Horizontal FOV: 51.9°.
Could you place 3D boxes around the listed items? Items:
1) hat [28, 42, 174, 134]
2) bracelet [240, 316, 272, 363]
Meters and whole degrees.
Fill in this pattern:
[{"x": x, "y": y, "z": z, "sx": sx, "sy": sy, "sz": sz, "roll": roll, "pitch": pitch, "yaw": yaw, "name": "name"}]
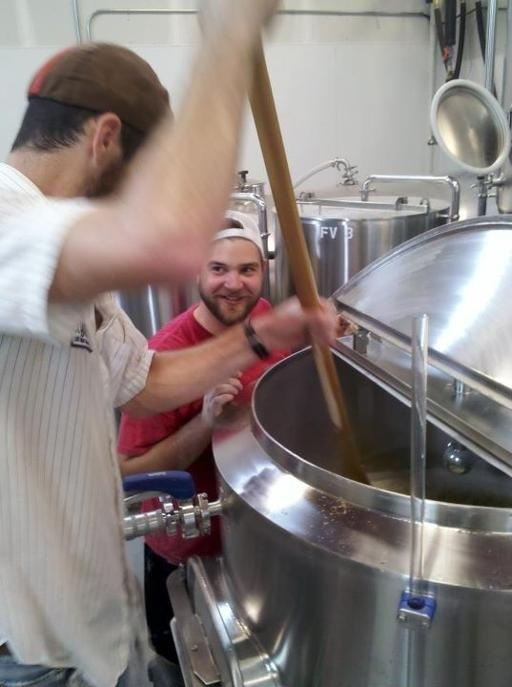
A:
[{"x": -0.121, "y": -0.183, "z": 0.390, "sx": 0.080, "sy": 0.046, "sz": 0.060, "roll": -3, "pitch": 29, "yaw": -20, "name": "hat"}, {"x": -0.005, "y": -0.006, "z": 0.717, "sx": 0.017, "sy": 0.050, "sz": 0.036, "roll": -32, "pitch": -7, "yaw": 24, "name": "bracelet"}]
